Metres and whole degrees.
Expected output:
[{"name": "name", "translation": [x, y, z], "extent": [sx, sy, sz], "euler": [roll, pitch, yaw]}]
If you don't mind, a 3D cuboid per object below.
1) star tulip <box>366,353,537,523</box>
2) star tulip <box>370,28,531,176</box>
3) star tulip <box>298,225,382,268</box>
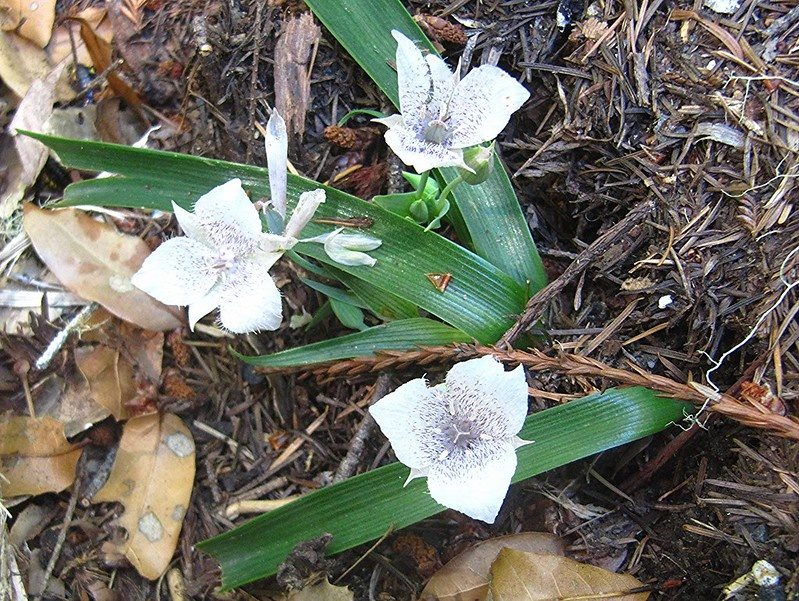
[{"name": "star tulip", "translation": [0.223, 0.525, 2.966], "extent": [0.664, 0.242, 0.651], "euler": [24, 75, 5]}, {"name": "star tulip", "translation": [0.206, -0.908, 3.385], "extent": [0.693, 0.342, 0.687], "euler": [-31, 94, -1]}, {"name": "star tulip", "translation": [-0.295, -0.277, 3.425], "extent": [0.391, 0.132, 0.183], "euler": [11, 102, 1]}]
